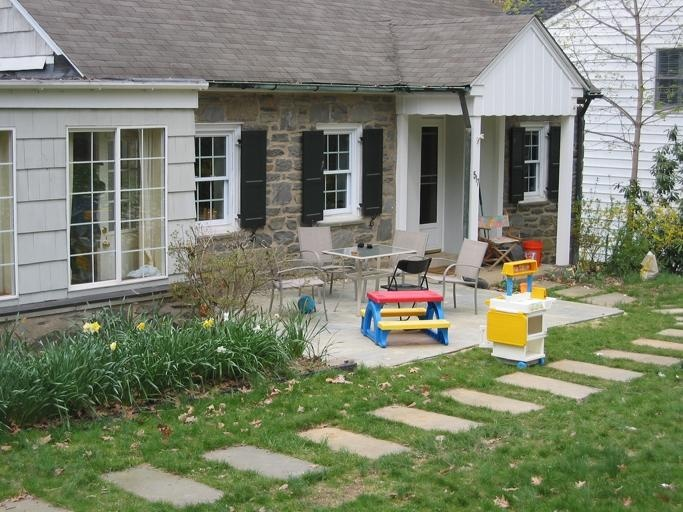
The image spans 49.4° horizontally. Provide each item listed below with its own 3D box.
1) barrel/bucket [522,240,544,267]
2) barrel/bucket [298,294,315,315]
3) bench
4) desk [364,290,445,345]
[{"bbox_3d":[3.597,-0.060,14.062,0.454,0.510,0.467,1,8,0],"label":"barrel/bucket"},{"bbox_3d":[-0.522,0.743,11.082,0.275,0.287,0.538,1,10,-3],"label":"barrel/bucket"},{"bbox_3d":[0.839,0.908,10.024,1.147,0.508,1.056,1,10,1],"label":"bench"},{"bbox_3d":[0.856,0.830,10.123,1.048,0.542,1.144,0,5,-11],"label":"desk"}]
